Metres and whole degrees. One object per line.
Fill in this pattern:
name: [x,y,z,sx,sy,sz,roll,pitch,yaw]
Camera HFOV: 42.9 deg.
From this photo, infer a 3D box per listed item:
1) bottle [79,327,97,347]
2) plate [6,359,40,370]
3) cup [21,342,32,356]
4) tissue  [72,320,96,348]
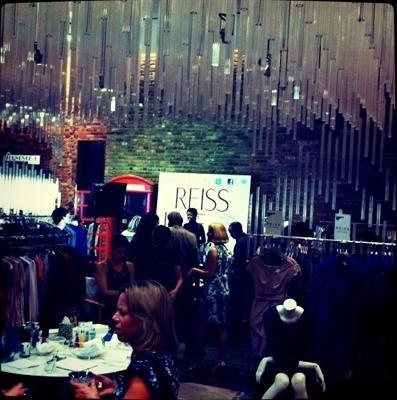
bottle: [-0.774,0.949,3.538,0.084,0.128,0.096,-1,2,17]
plate: [-1.128,1.058,3.253,0.181,0.018,0.186,4,1,43]
cup: [-1.155,0.989,3.398,0.061,0.090,0.069,1,5,-14]
tissue : [-0.816,0.929,3.547,0.123,0.254,0.128,1,-2,-25]
